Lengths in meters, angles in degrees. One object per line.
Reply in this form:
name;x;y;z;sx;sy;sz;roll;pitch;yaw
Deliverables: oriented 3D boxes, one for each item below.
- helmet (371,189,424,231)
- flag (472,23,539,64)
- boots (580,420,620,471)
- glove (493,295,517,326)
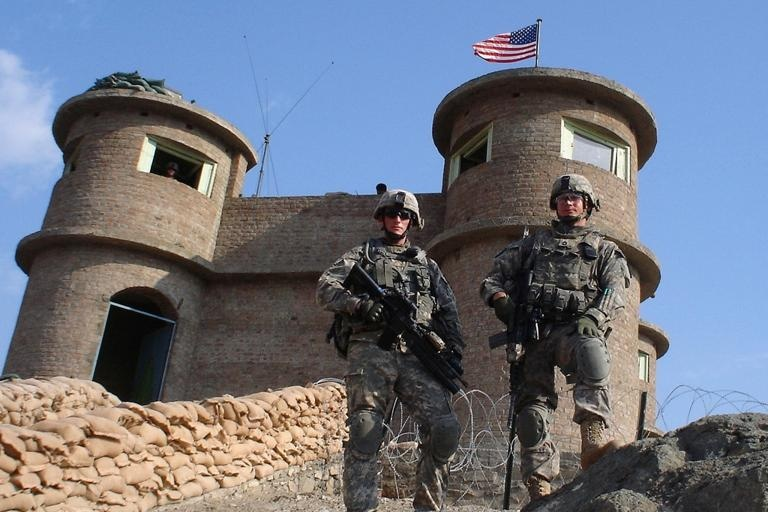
helmet;0.188;-0.620;10.447;0.645;0.367;0.591;3;-10;23
flag;2.781;-4.685;18.879;1.332;1.038;0.281;0;-24;10
boots;2.326;2.019;9.008;0.413;0.571;0.584;1;-23;10
glove;1.405;0.626;9.910;0.267;0.284;0.316;-3;-54;5
